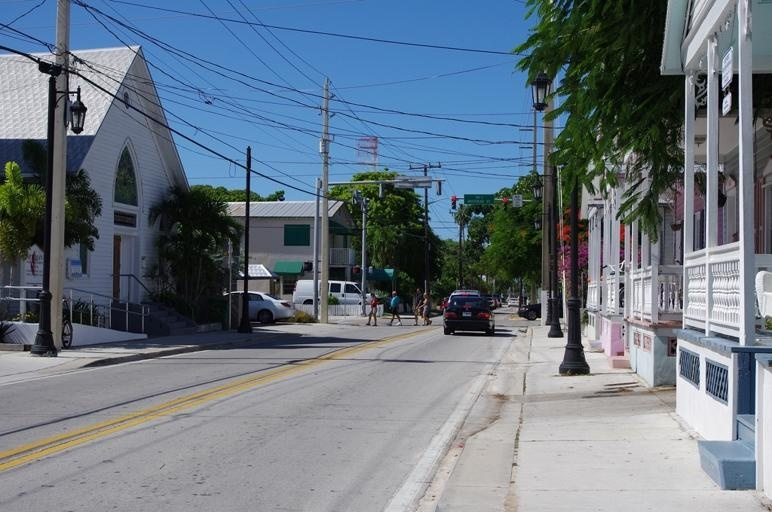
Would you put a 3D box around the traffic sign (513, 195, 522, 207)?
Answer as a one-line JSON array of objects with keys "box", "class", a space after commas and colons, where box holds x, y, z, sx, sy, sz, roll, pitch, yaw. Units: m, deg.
[{"box": [6.906, -2.860, 45.320, 0.421, 0.559, 1.545, 0, 3, 6], "class": "traffic sign"}]

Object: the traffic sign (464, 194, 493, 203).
[{"box": [5.311, -3.174, 49.353, 1.580, 0.475, 0.862, 0, 3, -1], "class": "traffic sign"}]

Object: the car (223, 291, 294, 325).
[{"box": [-5.894, 2.512, 41.473, 3.576, 1.403, 1.561, 0, -2, 8], "class": "car"}]
